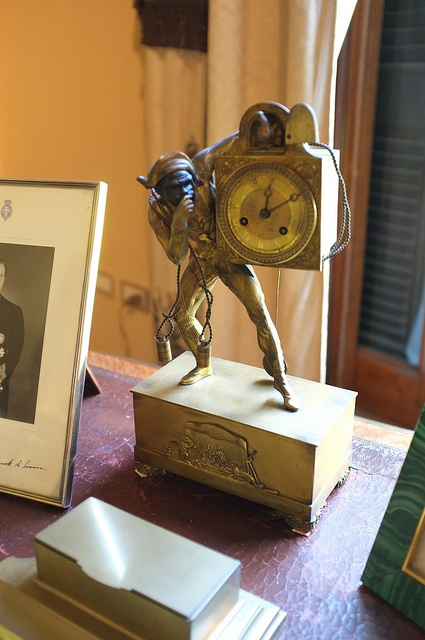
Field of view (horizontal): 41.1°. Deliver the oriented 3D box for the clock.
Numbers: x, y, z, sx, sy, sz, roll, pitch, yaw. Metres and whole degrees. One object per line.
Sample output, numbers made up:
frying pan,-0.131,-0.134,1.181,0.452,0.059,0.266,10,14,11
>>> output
clock,0.082,-0.184,0.799,0.164,0.227,0.049,16,33,31
